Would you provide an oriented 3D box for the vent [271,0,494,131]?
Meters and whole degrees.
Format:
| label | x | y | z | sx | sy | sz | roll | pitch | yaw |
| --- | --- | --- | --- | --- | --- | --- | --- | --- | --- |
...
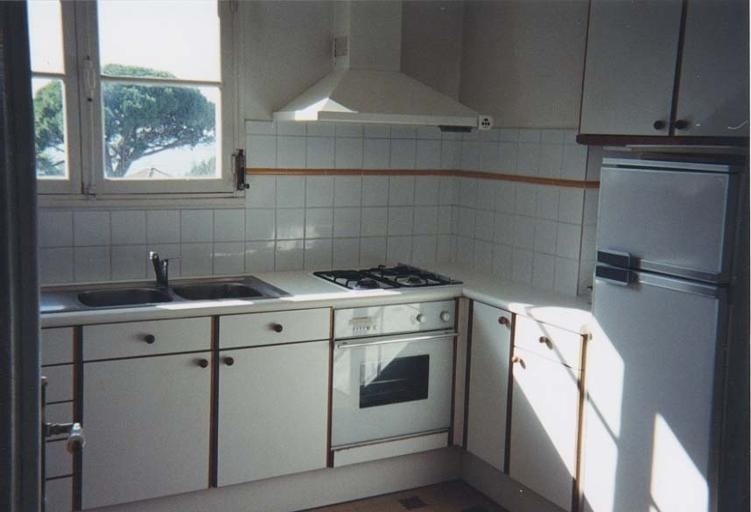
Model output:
| label | x | y | z | sx | sy | sz | roll | pitch | yaw |
| --- | --- | --- | --- | --- | --- | --- | --- | --- | --- |
| vent | 0.011 | -0.916 | 3.517 | 1.044 | 1.066 | 0.841 | -4 | 8 | -28 |

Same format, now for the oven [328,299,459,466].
| label | x | y | z | sx | sy | sz | roll | pitch | yaw |
| --- | --- | --- | --- | --- | --- | --- | --- | --- | --- |
| oven | 0.068 | 0.677 | 3.398 | 0.718 | 0.864 | 0.667 | -2 | 7 | 0 |

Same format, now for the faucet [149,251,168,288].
| label | x | y | z | sx | sy | sz | roll | pitch | yaw |
| --- | --- | --- | --- | --- | --- | --- | --- | --- | --- |
| faucet | -1.180 | 0.064 | 3.154 | 0.088 | 0.210 | 0.261 | -2 | 11 | -21 |

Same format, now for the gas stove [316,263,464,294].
| label | x | y | z | sx | sy | sz | roll | pitch | yaw |
| --- | --- | --- | --- | --- | --- | --- | --- | --- | --- |
| gas stove | 0.052 | 0.117 | 3.498 | 0.744 | 0.040 | 0.669 | -4 | 12 | -29 |

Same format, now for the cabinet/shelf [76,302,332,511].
| label | x | y | z | sx | sy | sz | roll | pitch | yaw |
| --- | --- | --- | --- | --- | --- | --- | --- | --- | --- |
| cabinet/shelf | -0.924 | 0.588 | 3.094 | 1.493 | 1.010 | 0.804 | -2 | 3 | -27 |
